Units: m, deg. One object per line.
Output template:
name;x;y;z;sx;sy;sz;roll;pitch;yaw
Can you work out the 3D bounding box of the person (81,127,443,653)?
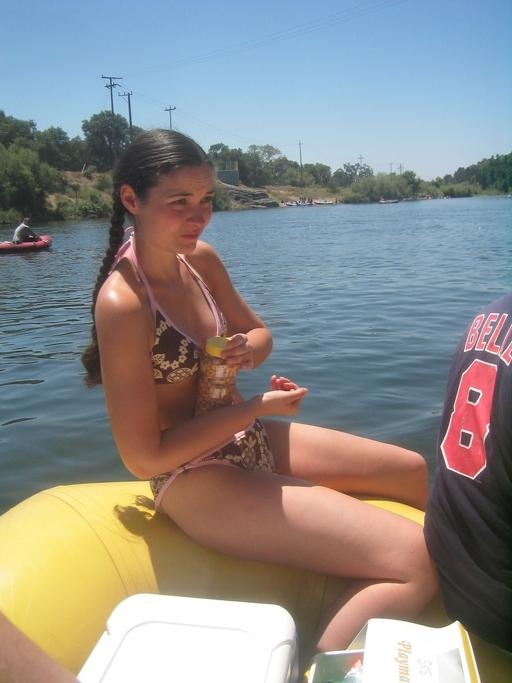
person;-0.003;-0.009;1.745;0.907;1.346;1.307;-11;16;-31
